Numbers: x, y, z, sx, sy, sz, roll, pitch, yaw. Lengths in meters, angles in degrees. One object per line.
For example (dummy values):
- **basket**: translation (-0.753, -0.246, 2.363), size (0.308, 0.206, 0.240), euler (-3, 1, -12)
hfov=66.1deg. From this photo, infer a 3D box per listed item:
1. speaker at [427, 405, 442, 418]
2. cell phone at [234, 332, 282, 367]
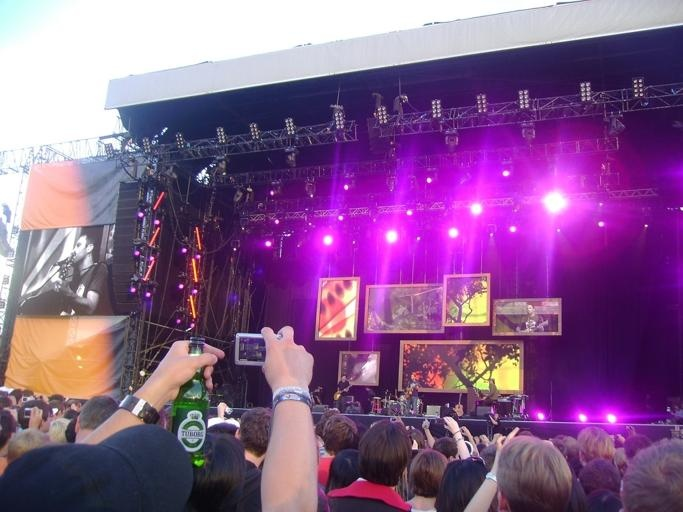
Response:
- **speaker**: translation (2.421, 4.098, 13.839), size (0.472, 0.471, 0.342), euler (-1, -13, 7)
- **cell phone**: translation (-0.305, 0.346, 1.940), size (0.155, 0.119, 0.021), euler (0, -6, 5)
